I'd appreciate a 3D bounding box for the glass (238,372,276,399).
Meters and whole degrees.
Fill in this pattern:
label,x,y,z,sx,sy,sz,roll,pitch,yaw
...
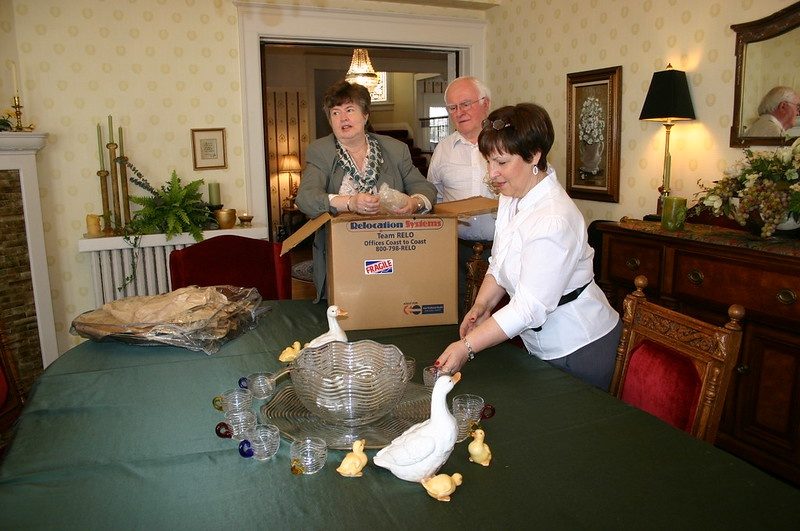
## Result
label,x,y,z,sx,sy,sz,roll,pitch,yaw
glass,-0.503,0.421,1.878,0.075,0.063,0.120,0,-1,-21

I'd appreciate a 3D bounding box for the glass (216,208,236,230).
label,x,y,z,sx,sy,sz,roll,pitch,yaw
glass,-1.406,-0.383,4.288,0.144,0.136,0.137,-10,7,-13

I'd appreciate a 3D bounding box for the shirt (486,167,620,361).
label,x,y,z,sx,sy,sz,roll,pitch,yaw
shirt,0.602,-0.023,2.168,0.551,0.753,0.756,-7,14,11

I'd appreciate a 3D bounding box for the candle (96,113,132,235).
label,x,y,z,sx,sy,sz,roll,pitch,yaw
candle,-2.249,-0.703,4.095,0.238,0.912,0.277,-8,13,-29

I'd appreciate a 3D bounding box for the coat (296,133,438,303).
label,x,y,z,sx,sy,sz,roll,pitch,yaw
coat,-0.198,-0.236,2.792,0.712,0.929,0.582,-4,10,-22

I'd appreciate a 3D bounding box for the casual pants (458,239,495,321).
label,x,y,z,sx,sy,sz,roll,pitch,yaw
casual pants,0.435,0.077,2.729,0.203,0.303,0.252,-10,-6,27

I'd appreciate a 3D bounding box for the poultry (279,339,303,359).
label,x,y,z,sx,sy,sz,roll,pitch,yaw
poultry,-0.438,0.337,2.106,0.059,0.025,0.047,-32,11,4

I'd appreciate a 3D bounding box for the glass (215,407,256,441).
label,x,y,z,sx,sy,sz,roll,pitch,yaw
glass,-0.530,0.504,1.699,0.111,0.056,0.086,-6,16,-5

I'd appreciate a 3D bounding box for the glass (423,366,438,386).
label,x,y,z,sx,sy,sz,roll,pitch,yaw
glass,0.112,0.392,1.897,0.059,0.071,0.061,-1,0,21

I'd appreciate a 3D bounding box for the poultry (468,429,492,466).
label,x,y,z,sx,sy,sz,roll,pitch,yaw
poultry,0.241,0.537,1.567,0.067,0.104,0.079,-3,6,-15

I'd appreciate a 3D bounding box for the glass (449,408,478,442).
label,x,y,z,sx,sy,sz,roll,pitch,yaw
glass,0.205,0.505,1.684,0.078,0.040,0.099,-1,5,41

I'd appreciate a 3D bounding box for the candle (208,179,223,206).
label,x,y,z,sx,sy,sz,roll,pitch,yaw
candle,-1.538,-0.597,4.359,0.111,0.192,0.169,-6,12,-19

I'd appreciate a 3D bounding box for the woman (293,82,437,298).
label,x,y,z,sx,sy,sz,roll,pitch,yaw
woman,-0.180,-0.261,2.736,0.733,1.325,0.675,-7,14,-24

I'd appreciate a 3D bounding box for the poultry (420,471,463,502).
label,x,y,z,sx,sy,sz,roll,pitch,yaw
poultry,0.120,0.607,1.452,0.083,0.057,0.067,1,2,-7

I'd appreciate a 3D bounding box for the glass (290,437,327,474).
label,x,y,z,sx,sy,sz,roll,pitch,yaw
glass,-0.287,0.602,1.611,0.126,0.090,0.155,3,-34,-4

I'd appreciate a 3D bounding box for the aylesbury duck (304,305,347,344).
label,x,y,z,sx,sy,sz,roll,pitch,yaw
aylesbury duck,-0.286,0.244,2.020,0.177,0.162,0.077,-14,11,8

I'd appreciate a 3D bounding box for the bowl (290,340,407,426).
label,x,y,z,sx,sy,sz,roll,pitch,yaw
bowl,-0.162,0.368,1.687,0.291,0.166,0.296,-1,13,0

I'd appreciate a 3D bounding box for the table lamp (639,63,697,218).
label,x,y,z,sx,sy,sz,roll,pitch,yaw
table lamp,1.716,-0.808,3.362,0.301,0.949,0.316,5,13,31

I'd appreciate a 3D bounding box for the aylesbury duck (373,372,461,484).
label,x,y,z,sx,sy,sz,roll,pitch,yaw
aylesbury duck,0.075,0.472,1.532,0.267,0.295,0.176,-7,0,20

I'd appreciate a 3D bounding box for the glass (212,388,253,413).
label,x,y,z,sx,sy,sz,roll,pitch,yaw
glass,-0.578,0.459,1.795,0.104,0.056,0.077,-5,13,-6

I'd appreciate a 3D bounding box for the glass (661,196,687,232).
label,x,y,z,sx,sy,sz,roll,pitch,yaw
glass,1.651,-0.309,3.156,0.147,0.184,0.157,0,10,-12

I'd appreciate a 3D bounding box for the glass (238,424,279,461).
label,x,y,z,sx,sy,sz,roll,pitch,yaw
glass,-0.436,0.529,1.628,0.103,0.073,0.081,-9,21,-27
